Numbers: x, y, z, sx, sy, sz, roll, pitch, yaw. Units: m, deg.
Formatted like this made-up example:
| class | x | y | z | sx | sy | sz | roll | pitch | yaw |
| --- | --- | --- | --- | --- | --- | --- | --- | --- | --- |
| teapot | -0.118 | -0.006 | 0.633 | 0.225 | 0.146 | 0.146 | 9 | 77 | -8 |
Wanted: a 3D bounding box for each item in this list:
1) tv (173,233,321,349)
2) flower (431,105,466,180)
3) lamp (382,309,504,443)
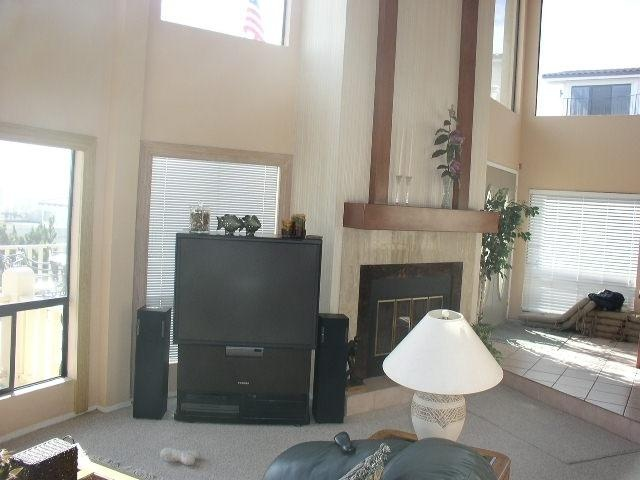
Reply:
| class | x | y | z | sx | sy | sz | roll | pitch | yaw |
| --- | --- | --- | --- | --- | --- | --- | --- | --- | --- |
| tv | -0.826 | 0.536 | 5.216 | 1.133 | 0.917 | 0.406 | 2 | -1 | -2 |
| flower | 1.604 | -1.273 | 5.997 | 0.281 | 0.513 | 0.222 | 14 | -11 | -11 |
| lamp | 0.901 | 1.059 | 3.614 | 0.688 | 0.965 | 0.632 | -5 | 15 | -31 |
